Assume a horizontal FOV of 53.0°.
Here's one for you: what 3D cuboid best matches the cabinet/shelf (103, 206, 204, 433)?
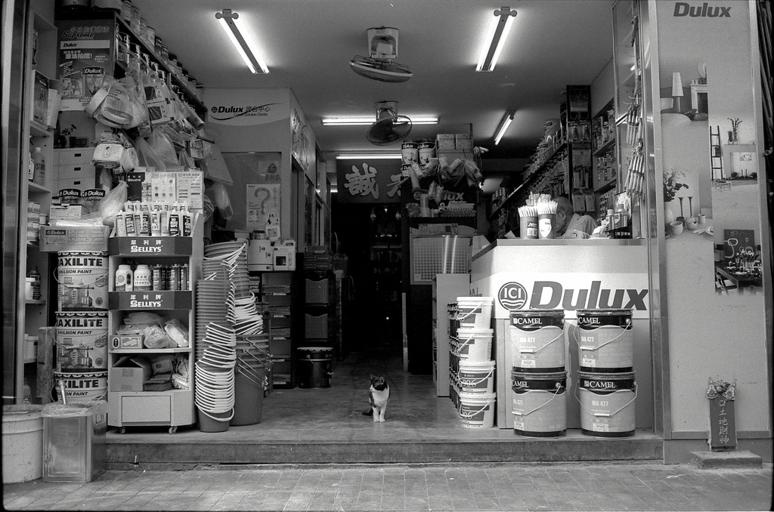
[{"bbox_3d":[-2.468,0.685,8.235,0.958,2.317,0.485,0,-5,-15],"label":"cabinet/shelf"}]

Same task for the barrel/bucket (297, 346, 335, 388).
[{"bbox_3d":[-0.996,1.551,10.901,0.537,0.497,0.519,-1,-10,0],"label":"barrel/bucket"}]

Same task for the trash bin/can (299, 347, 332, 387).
[{"bbox_3d":[-0.990,1.531,10.762,0.515,0.484,0.507,0,-10,-1],"label":"trash bin/can"}]

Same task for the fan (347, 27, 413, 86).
[{"bbox_3d":[-0.054,-2.686,10.346,0.845,0.709,0.541,9,23,8],"label":"fan"}]

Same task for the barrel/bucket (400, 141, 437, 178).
[{"bbox_3d":[0.533,-1.607,13.072,0.679,0.667,0.548,0,2,21],"label":"barrel/bucket"}]

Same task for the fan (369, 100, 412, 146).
[{"bbox_3d":[0.019,-2.211,12.544,0.807,0.747,0.788,-3,-27,0],"label":"fan"}]

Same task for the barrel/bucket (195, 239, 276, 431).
[{"bbox_3d":[-1.714,0.843,8.436,0.472,2.019,0.732,-3,-6,26],"label":"barrel/bucket"}]

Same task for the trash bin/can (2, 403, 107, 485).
[{"bbox_3d":[-3.156,1.732,7.496,1.161,0.823,0.651,0,-4,-10],"label":"trash bin/can"}]

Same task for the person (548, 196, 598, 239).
[{"bbox_3d":[2.545,-0.503,10.539,0.866,0.490,0.542,21,-15,-40],"label":"person"}]
